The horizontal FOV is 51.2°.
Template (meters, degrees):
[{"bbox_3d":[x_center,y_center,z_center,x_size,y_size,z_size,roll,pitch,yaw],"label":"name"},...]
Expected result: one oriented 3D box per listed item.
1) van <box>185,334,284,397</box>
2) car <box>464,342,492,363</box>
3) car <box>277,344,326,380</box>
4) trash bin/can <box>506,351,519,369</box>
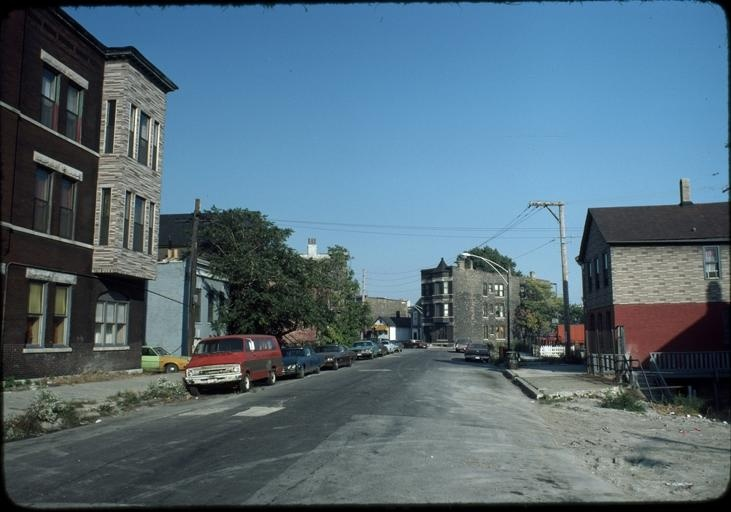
[{"bbox_3d":[-4.989,4.371,31.057,2.035,2.552,5.838,-7,-14,21],"label":"van"},{"bbox_3d":[8.311,7.116,56.341,1.508,1.145,3.435,0,-12,11],"label":"car"},{"bbox_3d":[-3.240,5.168,37.610,1.430,1.770,4.398,-3,-13,2],"label":"car"},{"bbox_3d":[8.193,5.811,42.907,0.761,0.861,0.790,-7,-7,42],"label":"trash bin/can"}]
